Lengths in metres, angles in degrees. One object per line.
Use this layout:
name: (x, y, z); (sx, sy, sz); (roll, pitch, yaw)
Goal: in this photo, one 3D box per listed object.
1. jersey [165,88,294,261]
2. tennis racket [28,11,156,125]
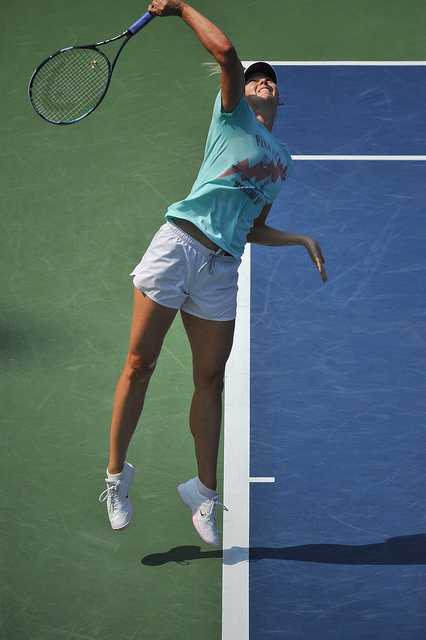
jersey: (0.114, -0.629, 3.352); (0.496, 0.632, 0.323); (16, 7, -20)
tennis racket: (-0.551, -1.461, 4.028); (0.057, 1.272, 0.358); (-4, -50, 40)
